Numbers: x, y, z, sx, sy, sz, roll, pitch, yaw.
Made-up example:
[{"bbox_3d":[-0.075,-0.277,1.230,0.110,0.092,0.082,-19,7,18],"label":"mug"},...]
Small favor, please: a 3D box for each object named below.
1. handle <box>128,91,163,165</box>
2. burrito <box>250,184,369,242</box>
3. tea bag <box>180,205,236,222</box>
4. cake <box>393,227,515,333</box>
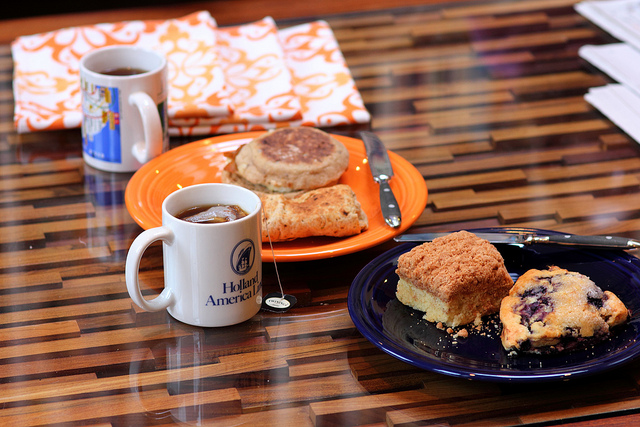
[{"bbox_3d":[-0.364,-0.190,1.243,0.059,0.142,0.081,-10,27,-19],"label":"handle"},{"bbox_3d":[-0.017,-0.005,1.073,0.163,0.042,0.117,-5,35,-6],"label":"burrito"},{"bbox_3d":[-0.187,-0.001,0.930,0.083,0.016,0.032,-6,22,-7],"label":"tea bag"},{"bbox_3d":[0.229,0.134,0.985,0.166,0.099,0.165,-29,42,-31],"label":"cake"}]
